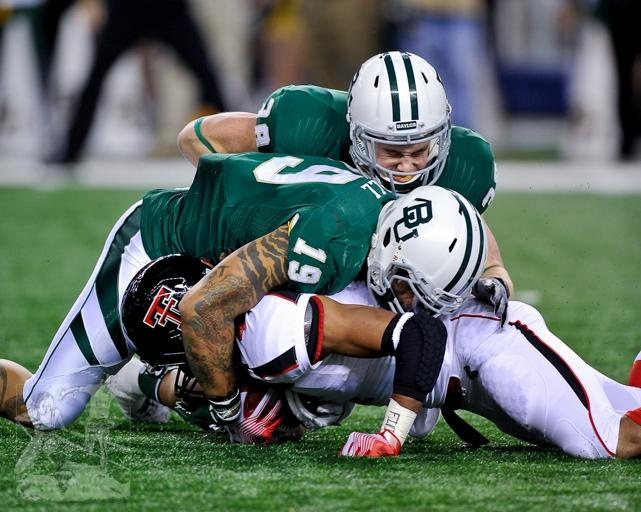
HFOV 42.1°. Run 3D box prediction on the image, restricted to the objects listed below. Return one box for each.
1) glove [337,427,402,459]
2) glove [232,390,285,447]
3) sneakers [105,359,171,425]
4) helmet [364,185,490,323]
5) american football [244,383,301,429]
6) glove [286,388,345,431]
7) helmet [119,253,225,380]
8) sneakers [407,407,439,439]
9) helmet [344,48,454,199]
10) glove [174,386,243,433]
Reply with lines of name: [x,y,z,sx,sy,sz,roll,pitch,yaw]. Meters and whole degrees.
glove: [0.153,0.588,2.607,0.144,0.072,0.096,-2,1,6]
glove: [-0.206,0.531,2.897,0.216,0.128,0.101,-46,18,-25]
sneakers: [-0.723,0.555,3.329,0.197,0.260,0.214,-35,49,7]
helmet: [0.360,-0.006,2.825,0.384,0.364,0.266,4,33,12]
american football: [-0.164,0.514,2.873,0.163,0.125,0.066,37,65,-5]
glove: [-0.013,0.546,2.905,0.172,0.072,0.137,24,10,-38]
helmet: [-0.466,0.194,2.950,0.430,0.409,0.348,-14,4,0]
sneakers: [0.357,0.573,2.899,0.078,0.125,0.047,27,9,28]
helmet: [0.282,-0.547,3.338,0.374,0.421,0.542,-1,46,-5]
glove: [-0.416,0.544,3.003,0.262,0.138,0.093,0,-3,36]
